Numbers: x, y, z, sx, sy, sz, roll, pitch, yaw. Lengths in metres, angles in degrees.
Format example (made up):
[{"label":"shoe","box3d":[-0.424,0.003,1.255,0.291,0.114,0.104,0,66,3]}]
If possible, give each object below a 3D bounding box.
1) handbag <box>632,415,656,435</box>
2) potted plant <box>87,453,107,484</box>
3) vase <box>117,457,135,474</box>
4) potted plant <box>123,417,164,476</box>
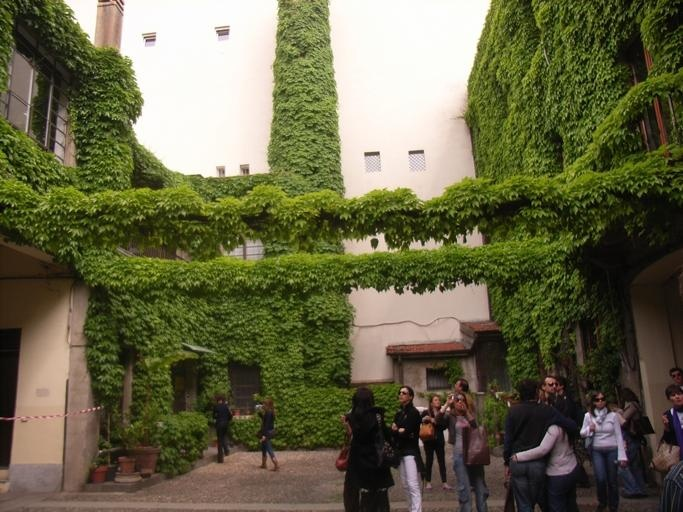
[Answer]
[{"label":"handbag","box3d":[5.805,3.272,11.301,0.361,0.374,0.149,4,-18,-3]},{"label":"potted plant","box3d":[-5.873,5.161,14.132,0.445,0.540,0.478,-5,-13,4]},{"label":"vase","box3d":[-5.133,5.006,13.967,0.356,0.297,0.361,6,-26,-16]},{"label":"potted plant","box3d":[-4.821,4.671,14.462,0.656,1.351,0.943,-9,-12,35]}]
